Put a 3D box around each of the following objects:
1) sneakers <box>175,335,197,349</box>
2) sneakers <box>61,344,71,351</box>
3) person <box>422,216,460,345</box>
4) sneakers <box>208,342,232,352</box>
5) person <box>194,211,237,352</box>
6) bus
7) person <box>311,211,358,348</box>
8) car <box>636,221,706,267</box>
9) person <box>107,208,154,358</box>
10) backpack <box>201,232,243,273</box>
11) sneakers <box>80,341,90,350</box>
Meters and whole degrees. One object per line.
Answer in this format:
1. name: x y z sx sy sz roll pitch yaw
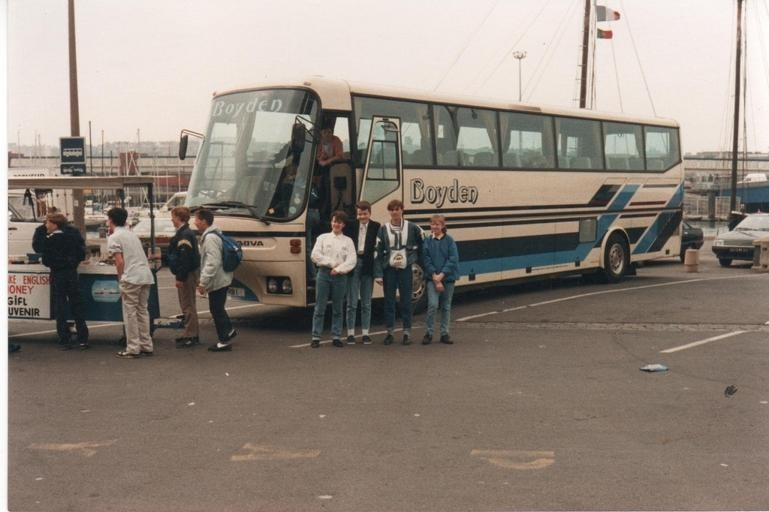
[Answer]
1. sneakers: -3.329 1.437 14.360 0.162 0.198 0.459 0 -6 43
2. sneakers: -5.201 1.499 13.991 0.114 0.072 0.116 0 -4 3
3. person: 0.928 0.393 14.520 0.606 2.156 0.646 -1 3 2
4. sneakers: -2.695 1.506 13.997 0.301 0.125 0.166 4 1 -2
5. person: -2.794 0.382 14.158 0.576 2.301 0.752 -2 4 -24
6. bus: 2.195 -1.322 20.011 13.642 3.840 3.304 -3 0 -42
7. person: -0.849 0.374 14.429 0.773 2.230 0.866 -1 3 -3
8. car: 8.345 -0.317 25.188 1.251 1.172 3.269 -4 -3 34
9. person: -3.985 0.408 13.582 0.746 2.350 0.546 -3 4 -39
10. backpack: -2.730 -0.073 14.303 0.674 0.683 0.493 0 4 -1
11. sneakers: -4.931 1.485 14.079 0.125 0.104 0.144 0 -5 -4
